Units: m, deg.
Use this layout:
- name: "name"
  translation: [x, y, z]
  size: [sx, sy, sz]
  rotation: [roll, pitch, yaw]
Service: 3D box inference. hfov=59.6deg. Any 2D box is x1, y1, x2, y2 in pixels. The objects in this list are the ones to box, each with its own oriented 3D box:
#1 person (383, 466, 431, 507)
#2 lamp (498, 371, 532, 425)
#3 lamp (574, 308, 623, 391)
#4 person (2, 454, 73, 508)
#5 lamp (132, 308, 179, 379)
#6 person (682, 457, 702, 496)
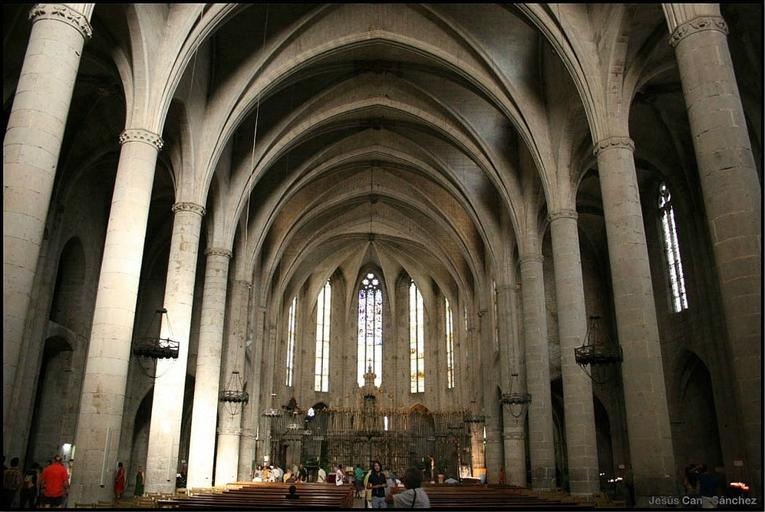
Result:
- name: "person"
  translation: [0.500, 4.241, 12.246]
  size: [0.576, 0.721, 0.510]
  rotation: [-13, -26, 24]
- name: "lamp"
  translation: [5.637, 5.923, 28.315]
  size: [1.738, 1.783, 1.748]
  rotation: [-4, -2, 0]
- name: "lamp"
  translation: [6.545, 2.829, 20.374]
  size: [1.365, 2.046, 1.389]
  rotation: [-9, 3, -2]
- name: "person"
  translation: [-8.936, 6.087, 17.991]
  size: [0.895, 1.321, 1.693]
  rotation: [10, -26, -25]
- name: "lamp"
  translation: [-6.664, 2.521, 20.114]
  size: [1.227, 2.161, 1.217]
  rotation: [6, -16, -18]
- name: "person"
  translation: [8.627, 6.117, 18.524]
  size: [0.518, 0.706, 0.505]
  rotation: [15, -23, -29]
